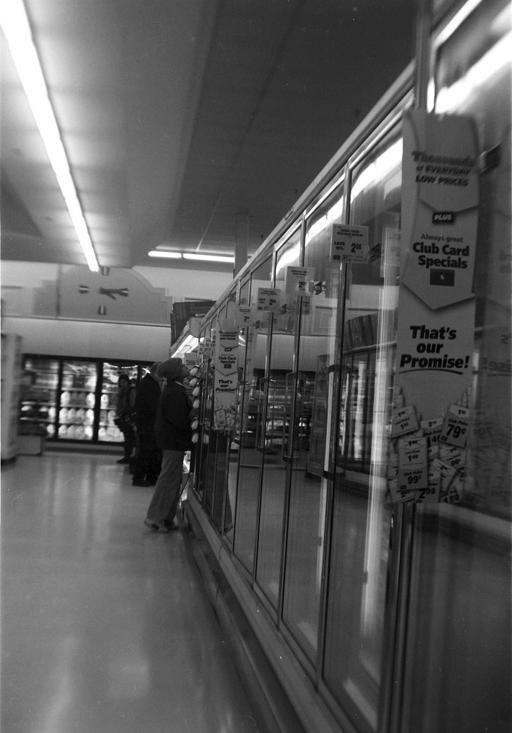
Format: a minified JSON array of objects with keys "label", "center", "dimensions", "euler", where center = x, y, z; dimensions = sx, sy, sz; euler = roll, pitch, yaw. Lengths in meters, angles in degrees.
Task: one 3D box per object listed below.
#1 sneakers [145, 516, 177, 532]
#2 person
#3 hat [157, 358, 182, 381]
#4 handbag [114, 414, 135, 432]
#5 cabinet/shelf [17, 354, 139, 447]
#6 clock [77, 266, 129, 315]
[{"label":"sneakers","center":[-1.072,1.764,5.476],"dimensions":[0.139,0.186,0.412],"euler":[-1,-5,41]},{"label":"person","center":[-0.963,0.865,5.462],"dimensions":[0.450,1.927,0.481],"euler":[4,-4,-12]},{"label":"hat","center":[-0.936,0.030,5.413],"dimensions":[0.177,0.157,0.272],"euler":[2,5,9]},{"label":"handbag","center":[-2.832,1.177,10.492],"dimensions":[0.528,0.436,0.620],"euler":[2,-11,-4]},{"label":"cabinet/shelf","center":[-4.831,0.929,12.996],"dimensions":[1.991,1.970,0.705],"euler":[1,-11,-2]},{"label":"clock","center":[-4.527,-2.222,14.274],"dimensions":[1.293,1.537,0.328],"euler":[-4,-6,25]}]
